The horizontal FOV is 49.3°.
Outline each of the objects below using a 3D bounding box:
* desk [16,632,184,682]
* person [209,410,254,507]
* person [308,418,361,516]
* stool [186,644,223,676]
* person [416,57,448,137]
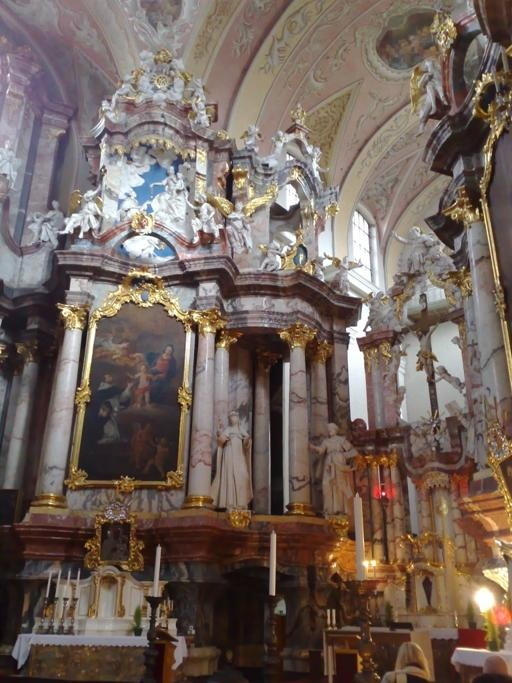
[{"bbox_3d":[-1.734,3.051,5.451,1.505,0.372,0.490,-11,-26,29],"label":"desk"},{"bbox_3d":[-0.383,2.001,9.410,0.648,1.659,0.566,3,-23,-1],"label":"person"},{"bbox_3d":[1.430,2.276,9.994,0.734,1.618,0.344,-1,-24,9],"label":"person"},{"bbox_3d":[-0.703,4.219,7.383,0.145,0.376,0.942,-7,-24,21],"label":"stool"},{"bbox_3d":[2.534,-3.706,8.139,0.420,1.425,0.504,-3,-24,13],"label":"person"}]
